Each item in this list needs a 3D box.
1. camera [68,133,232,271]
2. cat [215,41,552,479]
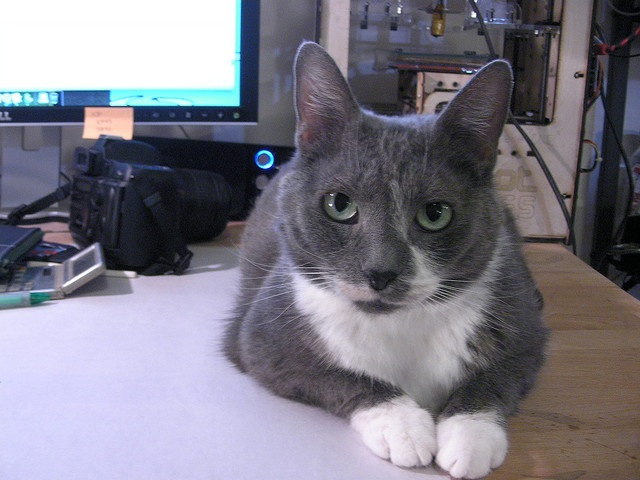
[{"bbox_3d":[-0.356,-0.102,1.186,0.308,0.211,0.348,8,12,25],"label":"camera"},{"bbox_3d":[0.110,-0.009,0.829,0.398,0.394,0.538,1,9,0],"label":"cat"}]
